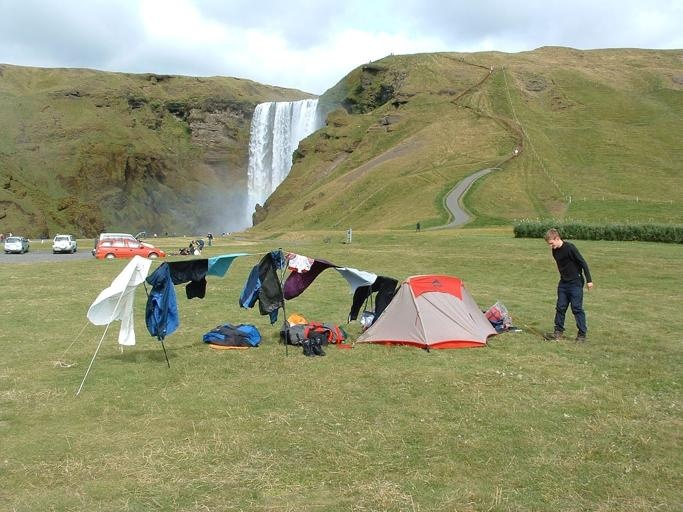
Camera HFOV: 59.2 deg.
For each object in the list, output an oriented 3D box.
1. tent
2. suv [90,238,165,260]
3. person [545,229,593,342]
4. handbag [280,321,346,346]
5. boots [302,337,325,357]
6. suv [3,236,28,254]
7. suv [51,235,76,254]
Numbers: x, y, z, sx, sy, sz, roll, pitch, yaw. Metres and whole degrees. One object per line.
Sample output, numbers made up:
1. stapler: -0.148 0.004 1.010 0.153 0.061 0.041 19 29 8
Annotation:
1. tent: 2.495 1.699 19.568 2.917 1.239 3.089 2 0 -32
2. suv: -16.016 -0.556 44.682 4.033 1.519 2.331 0 0 -26
3. person: 6.873 0.922 18.289 1.235 3.428 1.350 0 1 18
4. handbag: -0.897 2.456 19.028 1.302 0.387 0.988 0 -3 21
5. boots: -0.862 2.794 18.209 0.602 0.316 0.879 0 0 -8
6. suv: -28.163 -0.879 52.192 1.571 1.189 2.684 1 8 0
7. suv: -24.541 -1.019 53.417 1.500 1.100 2.424 -1 7 -6
